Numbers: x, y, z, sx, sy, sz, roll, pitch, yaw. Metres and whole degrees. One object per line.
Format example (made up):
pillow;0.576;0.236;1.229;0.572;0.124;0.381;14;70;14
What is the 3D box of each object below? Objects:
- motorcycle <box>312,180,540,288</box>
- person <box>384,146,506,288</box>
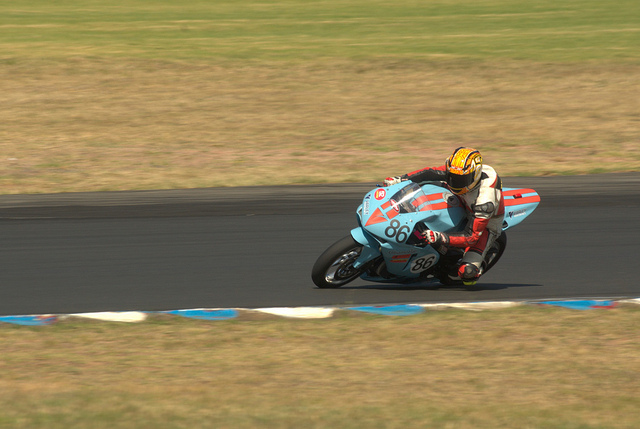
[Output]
motorcycle;0.985;0.329;8.269;2.045;1.589;0.794;1;37;-4
person;1.763;0.089;8.168;1.477;2.145;1.136;3;36;-2
